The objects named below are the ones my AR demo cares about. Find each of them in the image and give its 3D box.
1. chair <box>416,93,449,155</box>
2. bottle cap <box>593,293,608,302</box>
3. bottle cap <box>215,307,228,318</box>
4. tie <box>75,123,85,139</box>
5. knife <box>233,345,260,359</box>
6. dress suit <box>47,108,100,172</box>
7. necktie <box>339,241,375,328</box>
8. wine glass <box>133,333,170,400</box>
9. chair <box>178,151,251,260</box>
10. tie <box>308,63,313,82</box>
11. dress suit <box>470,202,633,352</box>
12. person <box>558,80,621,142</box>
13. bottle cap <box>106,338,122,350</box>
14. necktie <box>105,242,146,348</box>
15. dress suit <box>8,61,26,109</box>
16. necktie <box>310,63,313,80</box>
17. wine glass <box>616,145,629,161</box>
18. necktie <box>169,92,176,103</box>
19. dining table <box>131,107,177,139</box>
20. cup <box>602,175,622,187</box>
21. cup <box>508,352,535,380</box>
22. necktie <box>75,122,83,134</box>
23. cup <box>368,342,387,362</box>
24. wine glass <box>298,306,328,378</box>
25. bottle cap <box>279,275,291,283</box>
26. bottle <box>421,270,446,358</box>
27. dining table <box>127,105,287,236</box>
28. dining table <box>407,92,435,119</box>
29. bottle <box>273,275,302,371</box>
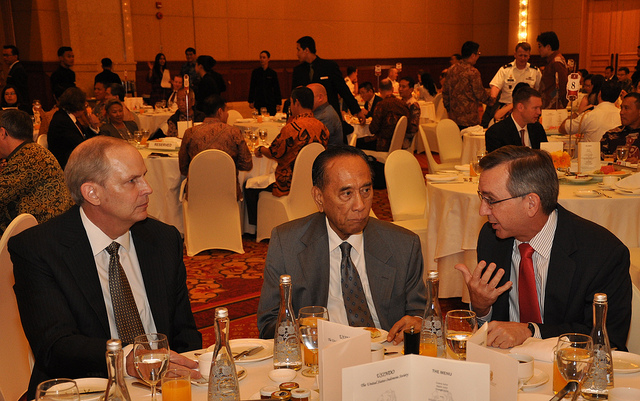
[{"bbox_3d":[2.321,-1.552,10.147,0.687,1.029,0.628,-8,11,-32],"label":"chair"},{"bbox_3d":[1.034,0.351,1.882,0.047,0.026,0.047,0,2,-31],"label":"bottle cap"},{"bbox_3d":[-0.352,0.394,1.813,0.034,0.026,0.036,2,-1,17],"label":"bottle cap"},{"bbox_3d":[-2.911,-0.837,6.176,0.026,0.129,0.117,-22,3,5],"label":"tie"},{"bbox_3d":[-0.321,0.650,2.200,0.018,0.018,0.158,31,14,25],"label":"knife"},{"bbox_3d":[-3.043,-0.752,6.086,0.470,0.706,0.248,0,8,20],"label":"dress suit"},{"bbox_3d":[0.182,0.420,2.533,0.138,0.593,0.067,3,38,18],"label":"necktie"},{"bbox_3d":[-0.627,0.590,1.887,0.119,0.161,0.108,-6,8,-21],"label":"wine glass"},{"bbox_3d":[-1.239,-0.020,5.708,0.680,1.166,0.678,1,12,-13],"label":"chair"},{"bbox_3d":[-0.159,-1.983,7.878,0.076,0.260,0.032,0,8,23],"label":"tie"},{"bbox_3d":[1.201,0.366,2.755,0.786,0.770,0.465,0,-1,7],"label":"dress suit"},{"bbox_3d":[3.493,-1.166,6.585,0.663,0.758,2.351,1,9,30],"label":"person"},{"bbox_3d":[-0.689,0.485,1.689,0.042,0.024,0.042,2,3,-27],"label":"bottle cap"},{"bbox_3d":[-0.938,0.473,2.479,0.178,0.614,0.188,1,-8,-8],"label":"necktie"},{"bbox_3d":[-5.486,-2.112,9.188,0.285,0.853,0.878,-7,9,-30],"label":"dress suit"},{"bbox_3d":[-0.146,-1.996,7.869,0.045,0.212,0.028,0,8,22],"label":"necktie"},{"bbox_3d":[2.841,-0.448,4.816,0.123,0.156,0.131,-1,3,0],"label":"wine glass"},{"bbox_3d":[-3.010,-2.087,10.346,0.132,0.208,0.282,-5,8,-14],"label":"necktie"},{"bbox_3d":[-2.750,-1.261,8.380,0.762,0.421,0.819,2,12,14],"label":"dining table"},{"bbox_3d":[2.470,-0.158,4.305,0.111,0.095,0.092,4,2,17],"label":"cup"},{"bbox_3d":[0.735,0.611,1.912,0.098,0.082,0.079,-2,17,-1],"label":"cup"},{"bbox_3d":[-3.034,-0.934,6.414,0.021,0.093,0.085,-33,6,0],"label":"necktie"},{"bbox_3d":[0.220,0.585,1.981,0.082,0.087,0.117,-2,3,5],"label":"cup"},{"bbox_3d":[-0.028,0.581,2.058,0.123,0.249,0.129,-2,3,21],"label":"wine glass"},{"bbox_3d":[-0.146,0.309,2.023,0.029,0.016,0.029,3,-1,-38],"label":"bottle cap"},{"bbox_3d":[0.461,0.461,2.090,0.096,0.364,0.209,-1,8,13],"label":"bottle"},{"bbox_3d":[-1.601,-0.442,6.753,1.778,0.735,1.879,-4,12,-3],"label":"dining table"},{"bbox_3d":[2.363,-2.123,11.472,0.777,0.557,0.839,0,27,9],"label":"dining table"},{"bbox_3d":[-0.146,0.489,2.080,0.122,0.396,0.104,-4,7,-4],"label":"bottle"}]
